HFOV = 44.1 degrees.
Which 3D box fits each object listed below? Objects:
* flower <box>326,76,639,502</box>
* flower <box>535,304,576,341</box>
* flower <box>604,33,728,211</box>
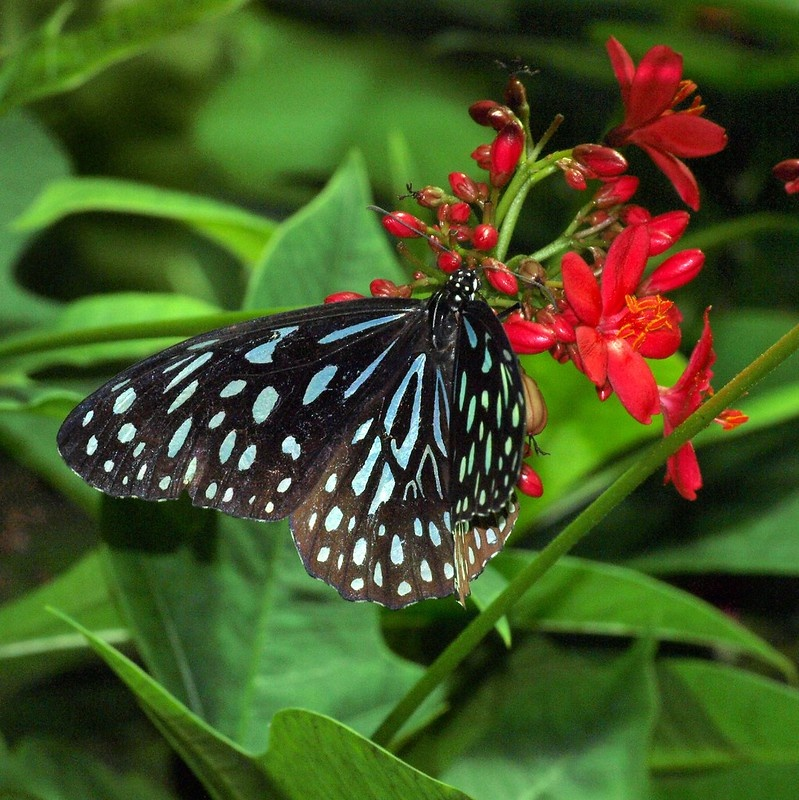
[{"bbox_3d":[0.076,-0.081,0.737,0.243,0.288,0.278,5,17,15],"label":"flower"},{"bbox_3d":[0.101,-0.051,0.644,0.019,0.009,0.025,-13,46,-22],"label":"flower"},{"bbox_3d":[0.175,-0.196,0.674,0.080,0.111,0.141,7,45,7],"label":"flower"}]
